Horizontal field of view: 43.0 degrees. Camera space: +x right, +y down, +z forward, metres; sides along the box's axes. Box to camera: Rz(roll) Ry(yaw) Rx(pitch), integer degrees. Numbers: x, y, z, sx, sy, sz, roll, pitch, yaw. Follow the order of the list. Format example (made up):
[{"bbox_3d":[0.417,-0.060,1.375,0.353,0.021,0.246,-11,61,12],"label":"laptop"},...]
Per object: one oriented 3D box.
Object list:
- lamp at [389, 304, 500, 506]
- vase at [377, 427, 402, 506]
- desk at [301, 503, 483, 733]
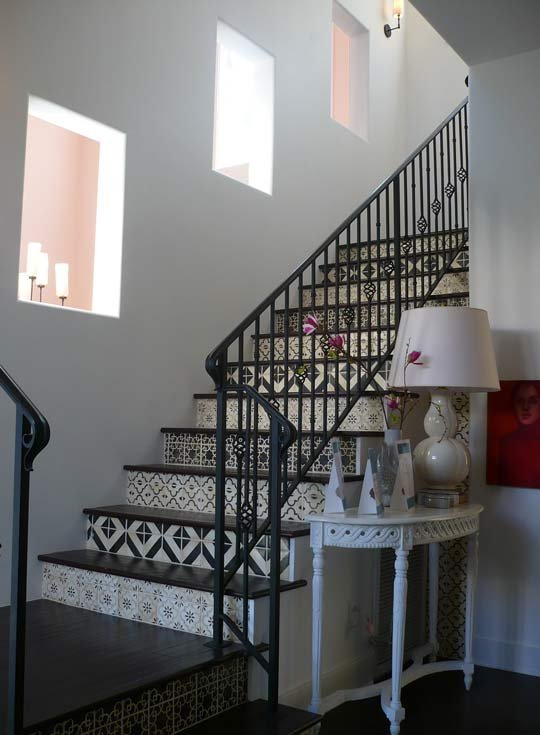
[{"bbox_3d":[0.741,0.174,2.923,0.451,0.841,0.470,0,-3,23],"label":"lamp"},{"bbox_3d":[0.484,0.406,2.764,0.081,0.305,0.109,0,-3,11],"label":"vase"},{"bbox_3d":[0.545,0.971,2.803,0.540,0.835,1.083,0,-3,28],"label":"desk"}]
